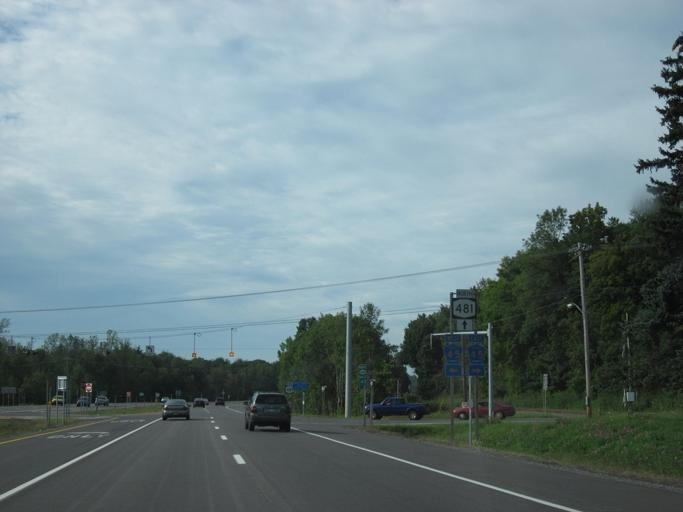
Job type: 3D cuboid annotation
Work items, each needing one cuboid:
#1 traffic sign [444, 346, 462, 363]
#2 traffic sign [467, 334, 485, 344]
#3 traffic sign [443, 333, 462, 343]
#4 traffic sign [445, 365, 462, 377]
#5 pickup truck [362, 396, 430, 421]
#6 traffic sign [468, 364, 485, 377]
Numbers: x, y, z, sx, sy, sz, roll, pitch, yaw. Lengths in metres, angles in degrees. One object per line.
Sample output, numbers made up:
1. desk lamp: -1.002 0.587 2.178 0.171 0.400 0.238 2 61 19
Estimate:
1. traffic sign: 5.203 4.607 40.067 0.715 0.728 0.102 0 -8 -5
2. traffic sign: 6.362 3.940 40.423 0.511 0.443 0.553 -1 -9 9
3. traffic sign: 5.326 3.915 40.994 0.704 0.534 0.417 1 -20 1
4. traffic sign: 5.262 5.436 40.223 0.810 0.444 0.707 -2 -17 0
5. pickup truck: 4.290 11.629 68.379 5.034 2.072 2.588 1 -12 9
6. traffic sign: 6.251 5.228 39.618 0.620 0.590 1.336 -6 -18 15
